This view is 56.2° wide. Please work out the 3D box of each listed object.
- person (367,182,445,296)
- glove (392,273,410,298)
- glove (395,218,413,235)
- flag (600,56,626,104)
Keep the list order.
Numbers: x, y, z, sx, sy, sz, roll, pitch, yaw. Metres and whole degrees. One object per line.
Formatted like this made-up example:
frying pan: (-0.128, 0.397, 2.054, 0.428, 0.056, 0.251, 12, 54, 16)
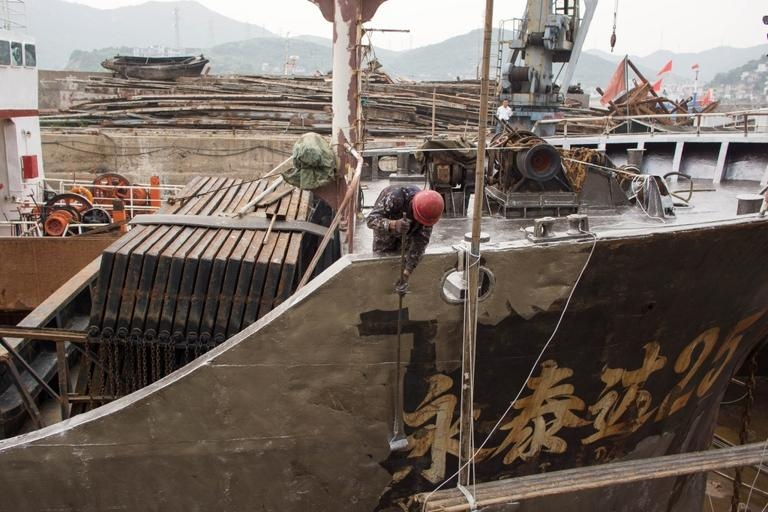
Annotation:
person: (0.226, -0.263, 10.043, 0.854, 1.831, 1.454, -10, 31, -19)
glove: (0.240, 0.396, 9.638, 0.221, 0.290, 0.287, 10, 8, 22)
glove: (0.222, -0.387, 9.247, 0.208, 0.212, 0.181, 3, 11, 12)
flag: (8.882, -6.627, 27.280, 0.900, 0.253, 2.515, -6, 49, 37)
